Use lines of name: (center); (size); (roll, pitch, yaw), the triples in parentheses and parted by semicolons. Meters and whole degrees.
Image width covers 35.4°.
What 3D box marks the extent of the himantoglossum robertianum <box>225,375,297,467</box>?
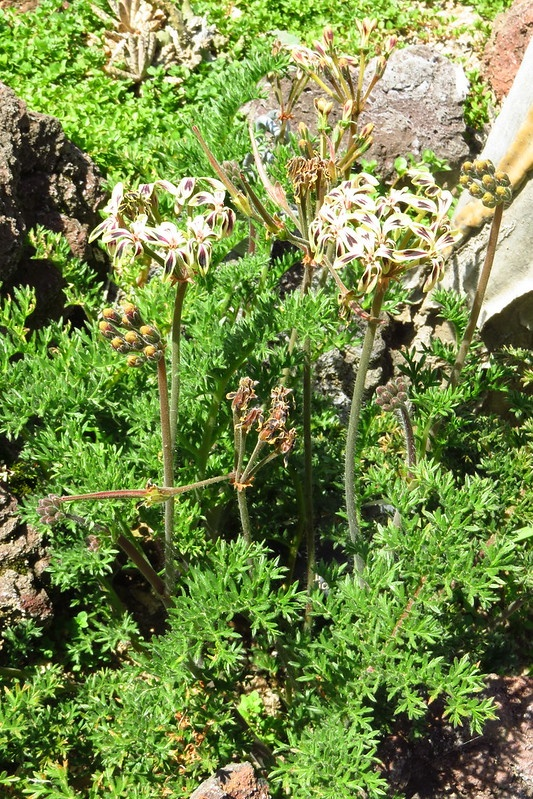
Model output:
himantoglossum robertianum: (0.019, 0.076, 2.454); (0.202, 0.356, 0.205); (-7, 21, -14)

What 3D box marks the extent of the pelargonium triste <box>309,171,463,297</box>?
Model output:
pelargonium triste: (0.342, -0.495, 2.441); (0.437, 0.365, 0.429); (-2, 17, -24)

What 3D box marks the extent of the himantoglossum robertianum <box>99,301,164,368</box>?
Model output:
himantoglossum robertianum: (-0.377, -0.151, 2.324); (0.119, 0.220, 0.093); (-11, 43, -18)

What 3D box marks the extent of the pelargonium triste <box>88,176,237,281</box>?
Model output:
pelargonium triste: (-0.277, -0.565, 2.687); (0.400, 0.300, 0.781); (7, 15, 7)
